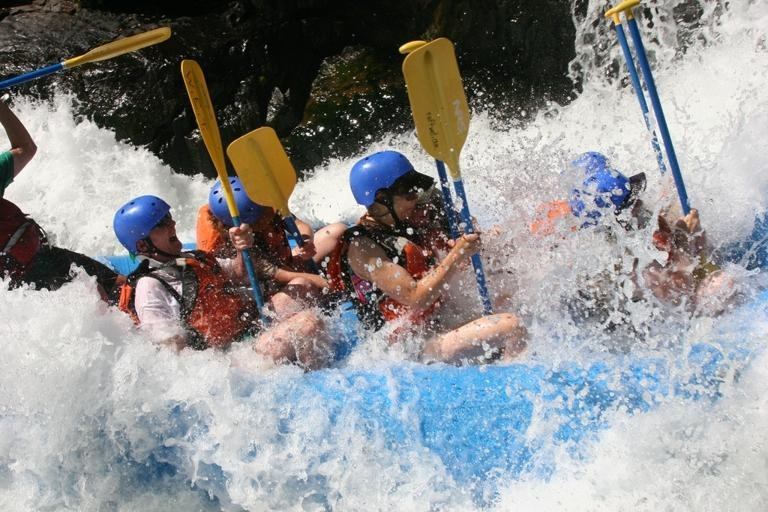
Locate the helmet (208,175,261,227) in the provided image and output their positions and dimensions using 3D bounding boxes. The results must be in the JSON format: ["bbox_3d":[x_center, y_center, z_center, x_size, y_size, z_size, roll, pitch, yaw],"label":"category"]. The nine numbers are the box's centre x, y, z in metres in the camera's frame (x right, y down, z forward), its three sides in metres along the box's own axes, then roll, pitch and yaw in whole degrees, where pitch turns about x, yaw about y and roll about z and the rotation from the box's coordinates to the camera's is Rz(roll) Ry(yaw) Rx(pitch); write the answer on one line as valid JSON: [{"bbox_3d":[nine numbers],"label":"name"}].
[{"bbox_3d":[-1.209,-0.422,6.971,0.354,0.450,0.335,37,56,4],"label":"helmet"}]

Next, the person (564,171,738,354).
[{"bbox_3d":[1.980,-0.086,6.615,1.329,0.519,0.900,37,77,-1],"label":"person"}]

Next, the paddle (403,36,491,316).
[{"bbox_3d":[0.581,-0.464,6.354,0.402,2.491,0.174,-21,31,-6],"label":"paddle"}]

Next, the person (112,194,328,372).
[{"bbox_3d":[-1.205,0.117,6.536,1.487,1.133,1.327,-5,111,8],"label":"person"}]

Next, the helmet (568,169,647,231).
[{"bbox_3d":[1.687,-0.431,6.373,0.598,0.207,0.425,-6,75,4],"label":"helmet"}]

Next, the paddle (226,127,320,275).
[{"bbox_3d":[-0.806,-0.387,6.875,0.414,1.457,0.207,-26,55,-2],"label":"paddle"}]

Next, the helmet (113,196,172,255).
[{"bbox_3d":[-1.872,-0.265,6.561,0.444,0.340,0.379,-26,97,9],"label":"helmet"}]

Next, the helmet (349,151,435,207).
[{"bbox_3d":[0.043,-0.542,6.158,0.535,0.362,0.292,-27,102,1],"label":"helmet"}]

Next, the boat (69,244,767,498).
[{"bbox_3d":[0.627,1.027,6.341,4.522,1.609,1.331,-7,78,-1],"label":"boat"}]
